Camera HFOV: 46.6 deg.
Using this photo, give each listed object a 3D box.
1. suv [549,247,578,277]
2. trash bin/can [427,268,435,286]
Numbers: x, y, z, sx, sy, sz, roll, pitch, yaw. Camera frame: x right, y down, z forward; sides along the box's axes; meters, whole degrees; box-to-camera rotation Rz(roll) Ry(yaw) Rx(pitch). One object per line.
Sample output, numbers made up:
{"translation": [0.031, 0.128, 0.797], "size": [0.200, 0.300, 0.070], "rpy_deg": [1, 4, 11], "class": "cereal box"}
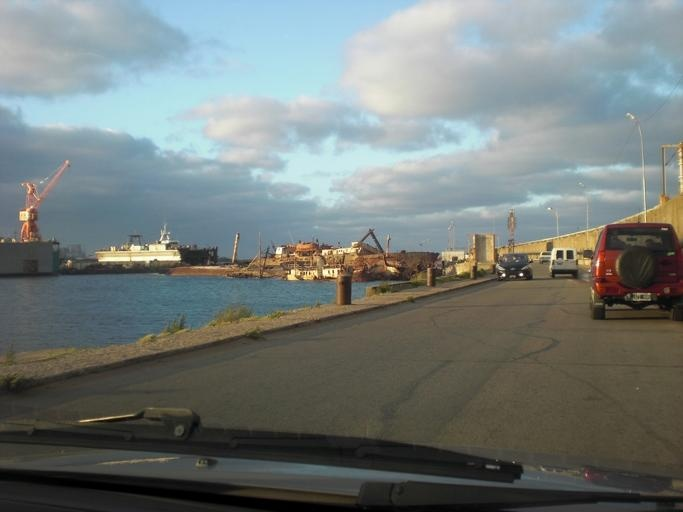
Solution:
{"translation": [12.501, 0.284, 44.754], "size": [1.146, 1.060, 2.060], "rpy_deg": [0, 3, 15], "class": "suv"}
{"translation": [4.130, 0.956, 36.753], "size": [0.361, 0.818, 1.138], "rpy_deg": [-2, 1, 6], "class": "trash bin/can"}
